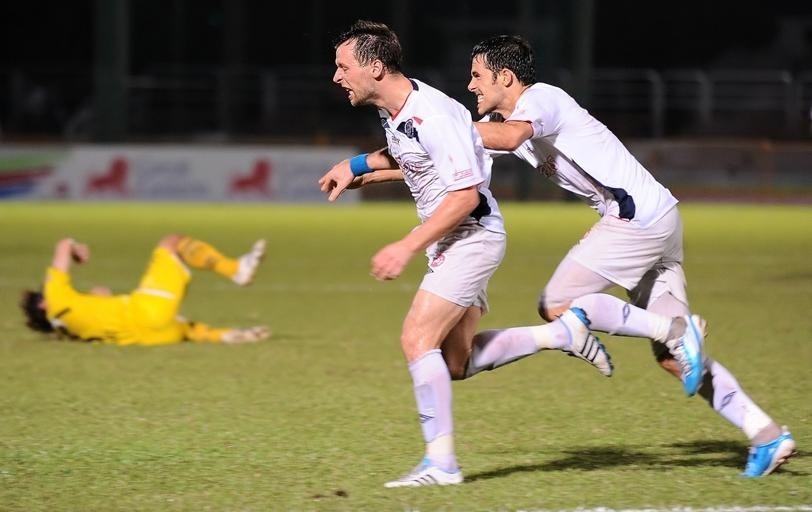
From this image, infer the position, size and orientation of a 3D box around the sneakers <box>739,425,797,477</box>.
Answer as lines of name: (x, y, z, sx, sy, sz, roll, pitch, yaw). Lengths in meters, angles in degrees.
sneakers: (2.244, 1.232, 6.379, 0.444, 0.201, 0.169, -42, -4, 29)

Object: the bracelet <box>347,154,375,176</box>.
bracelet: (-0.299, -0.617, 6.937, 0.118, 0.128, 0.159, -7, -8, -17)

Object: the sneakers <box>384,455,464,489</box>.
sneakers: (0.129, 1.332, 6.218, 0.535, 0.178, 0.165, 0, -6, 0)

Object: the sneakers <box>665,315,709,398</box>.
sneakers: (1.762, 0.615, 6.412, 0.279, 0.517, 0.192, -10, -5, -9)

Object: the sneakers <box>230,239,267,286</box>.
sneakers: (-1.048, 0.057, 7.280, 0.352, 0.207, 0.092, -49, -35, 18)

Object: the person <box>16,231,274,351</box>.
person: (-2.014, 0.289, 7.747, 2.426, 0.861, 0.749, -1, -3, 4)
